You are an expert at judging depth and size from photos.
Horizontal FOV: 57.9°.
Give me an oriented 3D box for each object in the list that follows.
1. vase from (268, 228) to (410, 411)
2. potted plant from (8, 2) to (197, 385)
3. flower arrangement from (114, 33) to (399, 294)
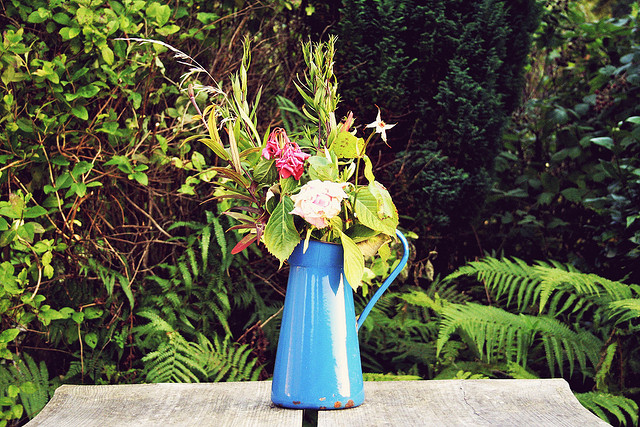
[{"bbox_3d":[0.070,0.393,2.136,0.623,0.814,0.436,2,-6,-9],"label":"vase"},{"bbox_3d":[-0.998,-0.090,2.628,0.856,1.763,0.343,6,6,-13],"label":"potted plant"},{"bbox_3d":[-0.163,-0.131,2.131,0.640,0.935,0.514,-1,4,32],"label":"flower arrangement"}]
